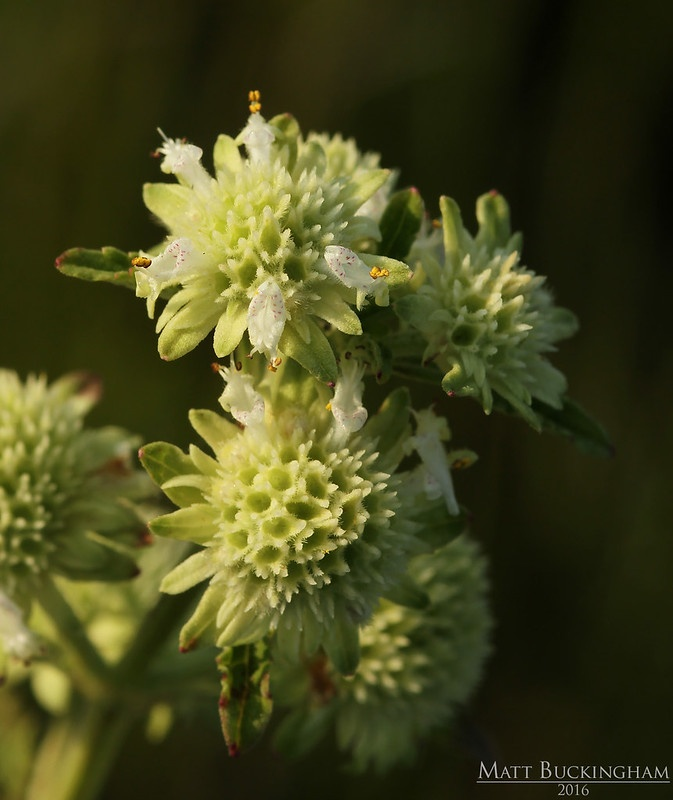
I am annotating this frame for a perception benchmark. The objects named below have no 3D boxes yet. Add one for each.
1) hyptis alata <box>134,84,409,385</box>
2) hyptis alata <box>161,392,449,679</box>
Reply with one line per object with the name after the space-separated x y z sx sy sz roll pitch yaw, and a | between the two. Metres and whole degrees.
-0.080 -0.207 1.262 0.411 0.175 0.336 14 82 6 | hyptis alata
-0.049 0.185 1.188 0.366 0.173 0.363 -3 10 27 | hyptis alata
